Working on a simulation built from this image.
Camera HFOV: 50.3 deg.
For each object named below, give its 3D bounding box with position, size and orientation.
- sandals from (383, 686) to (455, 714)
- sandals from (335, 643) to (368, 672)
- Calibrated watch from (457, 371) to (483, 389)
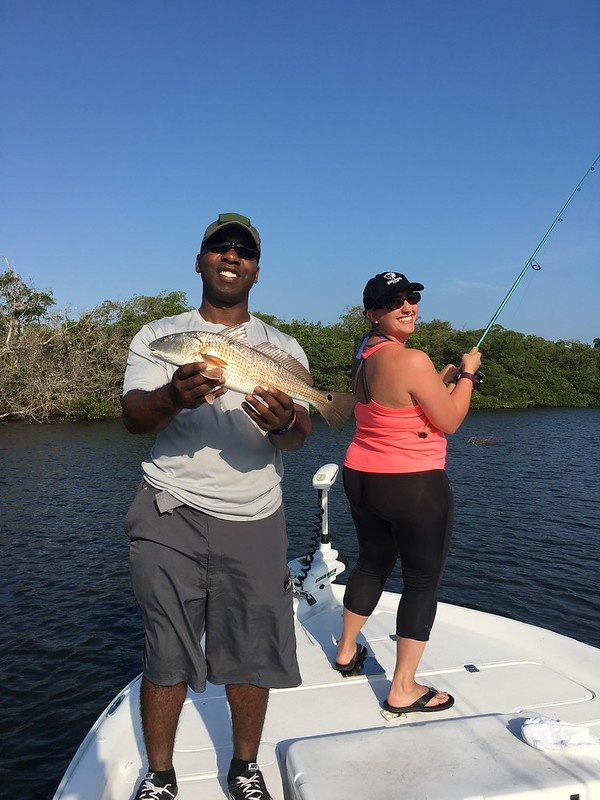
[{"bbox_3d":[0.635,1.602,3.382,0.331,0.079,0.140,-4,-5,0],"label":"sandals"},{"bbox_3d":[0.324,1.598,3.930,0.098,0.065,0.233,7,23,10],"label":"sandals"},{"bbox_3d":[0.987,-0.128,3.676,0.120,0.063,0.135,2,-3,-3],"label":"Calibrated watch"}]
